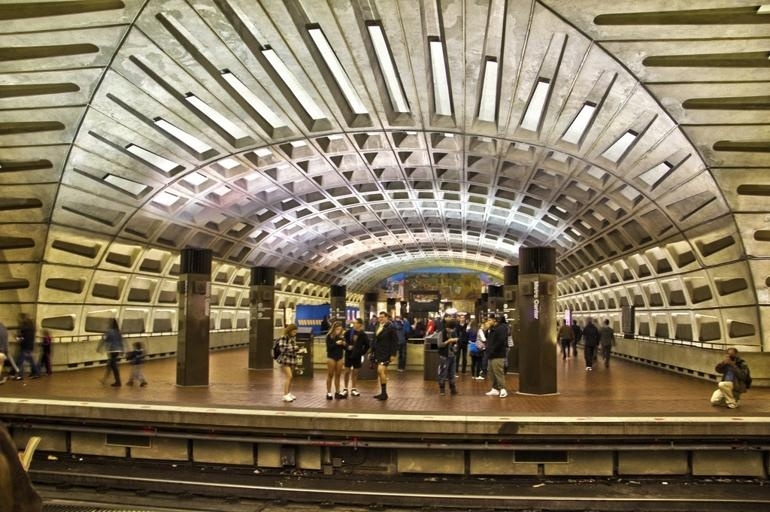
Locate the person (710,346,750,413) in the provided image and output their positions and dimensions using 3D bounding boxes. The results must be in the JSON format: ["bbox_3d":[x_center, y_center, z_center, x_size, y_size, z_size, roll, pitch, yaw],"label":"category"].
[{"bbox_3d":[9.893,3.446,13.872,0.823,1.563,1.066,5,16,33],"label":"person"}]
